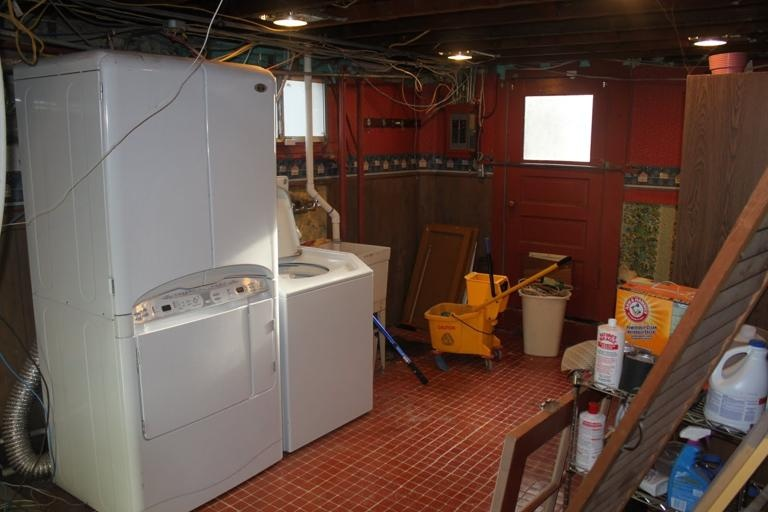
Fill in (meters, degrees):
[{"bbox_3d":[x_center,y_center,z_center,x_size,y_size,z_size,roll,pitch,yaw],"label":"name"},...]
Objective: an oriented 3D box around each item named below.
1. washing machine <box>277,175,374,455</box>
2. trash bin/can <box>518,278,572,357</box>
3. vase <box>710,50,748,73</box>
[{"bbox_3d":[-0.571,0.427,4.285,0.878,1.685,0.716,-13,22,-42],"label":"washing machine"},{"bbox_3d":[1.514,0.562,5.473,0.454,0.747,0.288,6,17,16],"label":"trash bin/can"},{"bbox_3d":[2.504,-1.412,4.176,0.232,0.113,0.210,-10,14,-33],"label":"vase"}]
